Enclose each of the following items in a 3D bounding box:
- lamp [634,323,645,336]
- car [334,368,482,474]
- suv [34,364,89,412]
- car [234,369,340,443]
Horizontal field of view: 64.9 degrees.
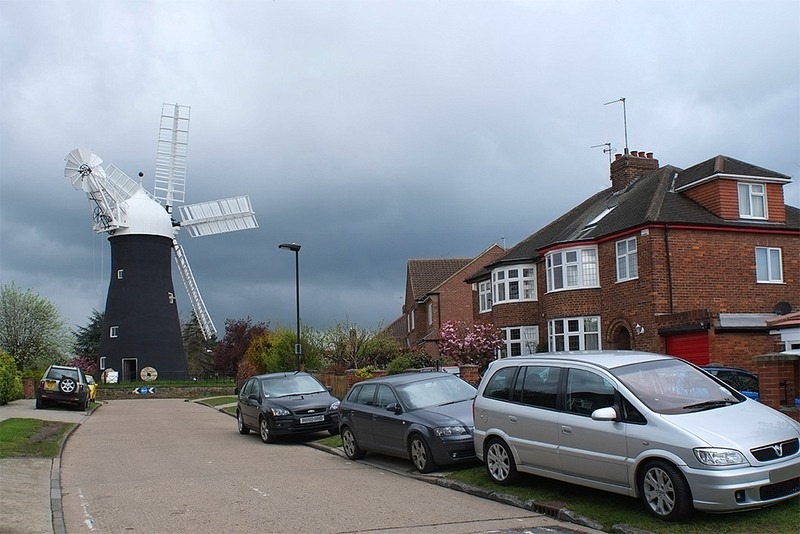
[{"bbox_3d":[10.333,2.707,27.102,0.130,0.510,0.687,0,-8,-13],"label":"lamp"},{"bbox_3d":[0.676,3.808,15.754,2.422,2.206,5.313,3,-9,-32],"label":"car"},{"bbox_3d":[-16.919,6.080,31.882,1.952,1.597,3.172,1,-1,-10],"label":"suv"},{"bbox_3d":[-3.968,4.580,20.880,2.103,1.369,3.374,2,-9,-29],"label":"car"}]
